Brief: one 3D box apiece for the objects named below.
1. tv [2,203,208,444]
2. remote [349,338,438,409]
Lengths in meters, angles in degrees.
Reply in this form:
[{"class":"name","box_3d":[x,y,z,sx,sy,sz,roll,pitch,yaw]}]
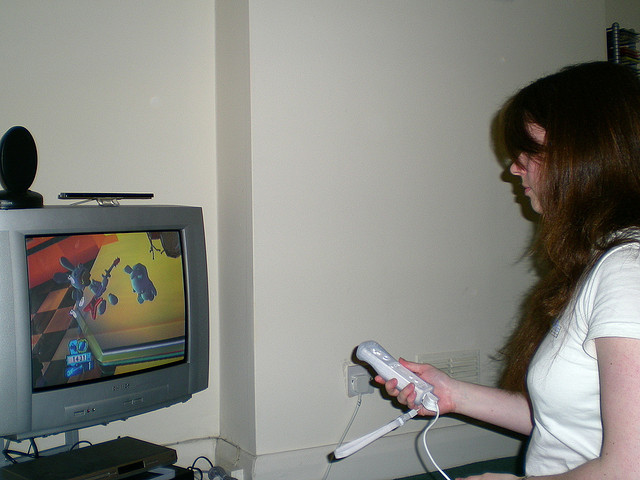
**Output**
[{"class":"tv","box_3d":[-0.674,0.232,1.730,0.775,0.730,0.419,-1,-4,-35]},{"class":"remote","box_3d":[0.220,0.409,1.661,0.146,0.072,0.261,-36,51,-26]}]
